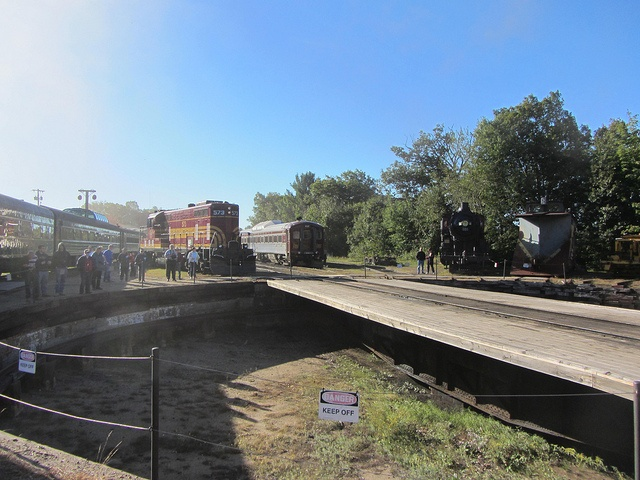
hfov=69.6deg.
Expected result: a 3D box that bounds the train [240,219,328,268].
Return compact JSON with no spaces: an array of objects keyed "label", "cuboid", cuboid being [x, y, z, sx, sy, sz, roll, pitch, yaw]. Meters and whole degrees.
[{"label":"train","cuboid":[-5.089,0.213,45.643,3.057,4.144,15.080,-2,-1,-31]}]

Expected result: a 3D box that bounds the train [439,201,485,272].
[{"label":"train","cuboid":[8.667,-0.095,27.789,2.598,4.330,1.462,0,4,16]}]

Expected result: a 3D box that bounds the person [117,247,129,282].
[{"label":"person","cuboid":[-11.015,1.397,25.744,0.489,1.705,2.270,-3,5,-24]}]

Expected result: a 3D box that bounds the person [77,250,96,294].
[{"label":"person","cuboid":[-9.950,1.397,19.451,0.535,1.673,0.991,-3,5,-24]}]

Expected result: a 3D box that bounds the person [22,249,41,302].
[{"label":"person","cuboid":[-11.427,1.382,18.113,0.484,1.790,2.890,-4,5,-34]}]

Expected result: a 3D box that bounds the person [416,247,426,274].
[{"label":"person","cuboid":[6.809,1.382,31.051,0.389,1.782,3.278,0,5,12]}]
